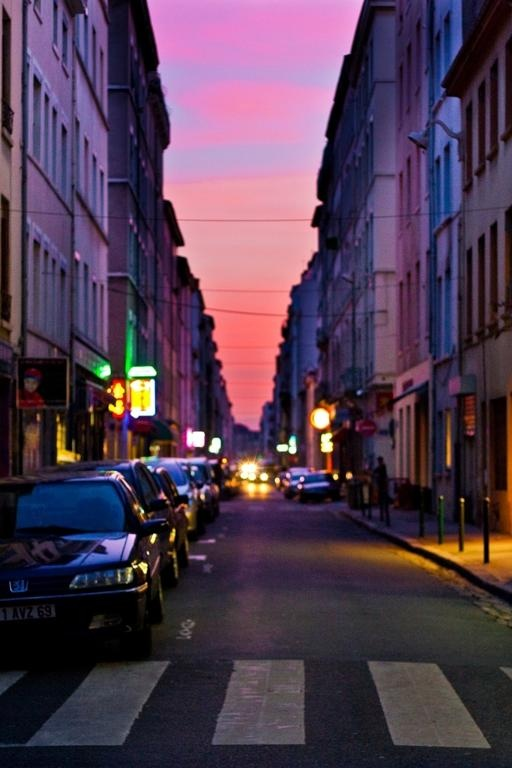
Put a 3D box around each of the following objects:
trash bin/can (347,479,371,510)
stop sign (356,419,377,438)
[{"bbox_3d":[3.936,4.102,36.184,0.723,1.384,0.975,1,-4,0],"label":"trash bin/can"},{"bbox_3d":[4.018,1.523,34.862,0.581,0.590,0.846,-4,-10,-1],"label":"stop sign"}]
